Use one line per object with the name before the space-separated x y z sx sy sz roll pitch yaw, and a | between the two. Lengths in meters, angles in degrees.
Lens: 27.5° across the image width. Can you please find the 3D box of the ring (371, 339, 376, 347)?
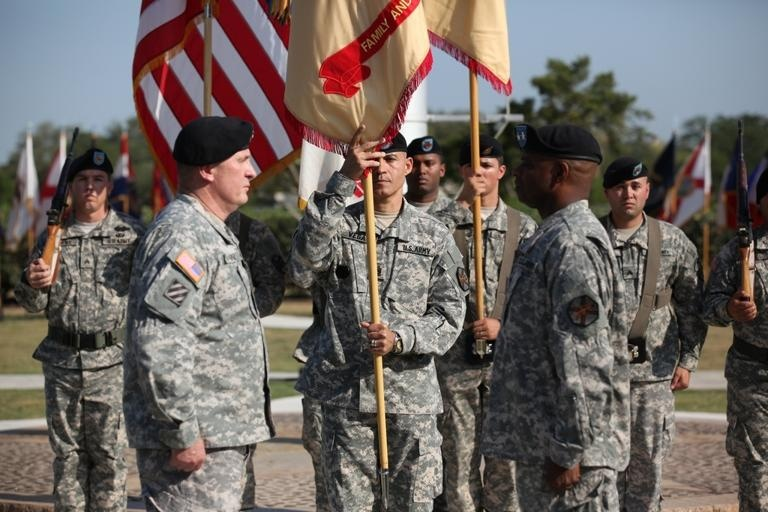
ring | -0.089 0.917 16.388 0.066 0.079 0.006 1 -3 18

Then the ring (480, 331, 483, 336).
ring | 1.096 0.859 17.381 0.031 0.012 0.044 -4 -43 8

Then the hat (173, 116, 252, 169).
hat | -1.706 -1.182 15.859 0.655 0.341 0.479 -16 9 -22

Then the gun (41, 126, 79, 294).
gun | -3.664 -0.510 17.764 0.307 1.599 0.285 3 -3 -12

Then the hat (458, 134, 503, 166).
hat | 1.112 -1.239 18.295 0.319 0.212 0.451 0 -2 -38

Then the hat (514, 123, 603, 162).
hat | 1.813 -1.161 15.987 0.609 0.241 0.469 5 2 4

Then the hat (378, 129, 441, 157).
hat | 0.347 -1.275 18.283 0.467 0.210 0.349 3 -5 -24
